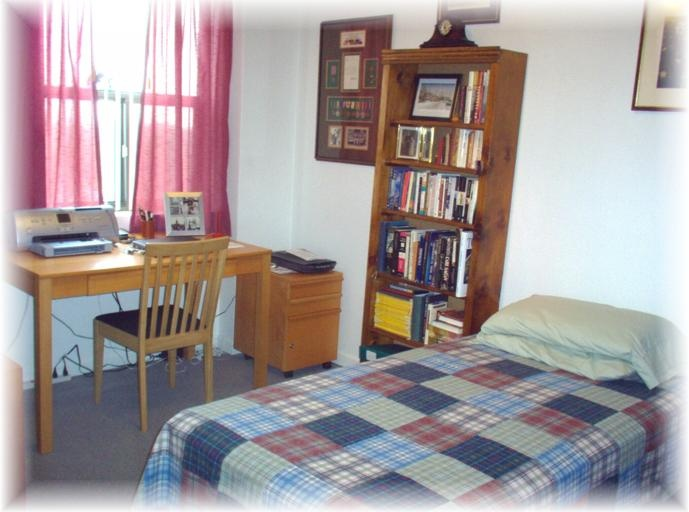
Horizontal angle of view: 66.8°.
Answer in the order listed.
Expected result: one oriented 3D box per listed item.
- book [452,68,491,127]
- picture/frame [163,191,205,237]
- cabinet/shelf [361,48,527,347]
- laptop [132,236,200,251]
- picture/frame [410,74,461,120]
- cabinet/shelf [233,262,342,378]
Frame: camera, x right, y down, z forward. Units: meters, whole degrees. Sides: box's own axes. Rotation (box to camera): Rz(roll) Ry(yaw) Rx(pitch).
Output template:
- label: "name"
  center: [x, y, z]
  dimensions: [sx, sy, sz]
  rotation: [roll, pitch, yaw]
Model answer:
- label: "book"
  center: [0.721, -0.886, 2.968]
  dimensions: [0.204, 0.313, 0.334]
  rotation: [11, 26, 14]
- label: "picture/frame"
  center: [-1.064, -0.273, 3.467]
  dimensions: [0.321, 0.309, 0.036]
  rotation: [-4, 2, -38]
- label: "cabinet/shelf"
  center: [0.561, -0.287, 3.211]
  dimensions: [0.884, 1.861, 0.461]
  rotation: [12, 16, 32]
- label: "laptop"
  center: [-1.043, -0.071, 3.031]
  dimensions: [0.517, 0.041, 0.398]
  rotation: [-6, 7, -38]
- label: "picture/frame"
  center: [0.569, -0.977, 3.215]
  dimensions: [0.029, 0.302, 0.346]
  rotation: [9, 3, -43]
- label: "cabinet/shelf"
  center: [-0.285, 0.401, 4.062]
  dimensions: [0.702, 0.945, 0.818]
  rotation: [-8, 14, -42]
